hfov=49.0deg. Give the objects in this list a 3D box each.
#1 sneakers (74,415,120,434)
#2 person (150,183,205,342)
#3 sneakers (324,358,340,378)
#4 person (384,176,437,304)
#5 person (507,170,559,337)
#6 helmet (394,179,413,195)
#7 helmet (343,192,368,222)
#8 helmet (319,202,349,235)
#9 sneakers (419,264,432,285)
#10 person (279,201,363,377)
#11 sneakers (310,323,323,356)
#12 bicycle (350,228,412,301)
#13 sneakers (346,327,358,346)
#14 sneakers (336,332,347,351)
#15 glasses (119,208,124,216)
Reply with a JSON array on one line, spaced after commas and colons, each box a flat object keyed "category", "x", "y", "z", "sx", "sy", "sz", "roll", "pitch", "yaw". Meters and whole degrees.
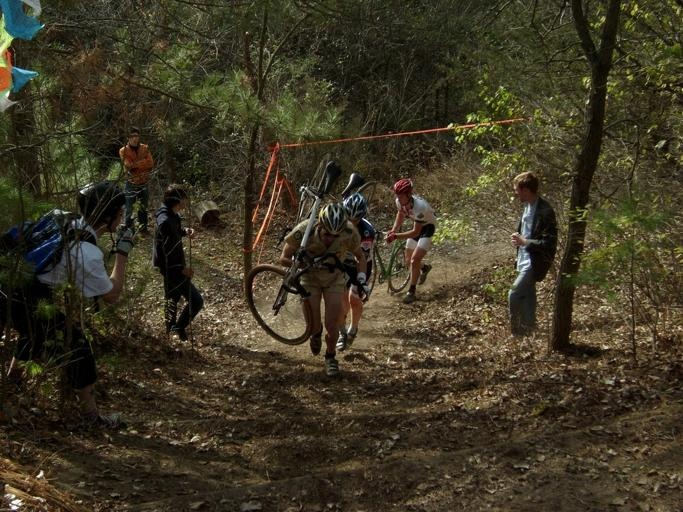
[{"category": "sneakers", "x": -2.136, "y": 1.467, "z": 6.552, "sx": 0.377, "sy": 0.179, "sz": 0.133, "roll": -1, "pitch": 25, "yaw": -24}, {"category": "person", "x": -2.185, "y": 0.137, "z": 9.925, "sx": 0.739, "sy": 2.536, "sz": 0.982, "roll": -13, "pitch": 44, "yaw": -23}, {"category": "sneakers", "x": -0.114, "y": 1.235, "z": 8.249, "sx": 0.151, "sy": 0.177, "sz": 0.402, "roll": -2, "pitch": -7, "yaw": -5}, {"category": "person", "x": 1.054, "y": -0.269, "z": 11.245, "sx": 0.698, "sy": 2.009, "sz": 1.590, "roll": 1, "pitch": 14, "yaw": 7}, {"category": "person", "x": 2.174, "y": 0.001, "z": 8.570, "sx": 0.549, "sy": 1.898, "sz": 0.518, "roll": 6, "pitch": 16, "yaw": 27}, {"category": "helmet", "x": 0.845, "y": -0.994, "z": 10.448, "sx": 0.236, "sy": 0.188, "sz": 0.207, "roll": -33, "pitch": -21, "yaw": -11}, {"category": "helmet", "x": 0.156, "y": -0.585, "z": 8.718, "sx": 0.241, "sy": 0.305, "sz": 0.312, "roll": 1, "pitch": 14, "yaw": 0}, {"category": "helmet", "x": -0.076, "y": -0.408, "z": 7.642, "sx": 0.247, "sy": 0.335, "sz": 0.226, "roll": 1, "pitch": 11, "yaw": -10}, {"category": "sneakers", "x": 1.362, "y": 0.289, "z": 12.163, "sx": 0.175, "sy": 0.404, "sz": 0.134, "roll": 5, "pitch": 17, "yaw": -12}, {"category": "person", "x": -0.163, "y": 0.326, "z": 8.190, "sx": 0.916, "sy": 1.960, "sz": 0.836, "roll": -5, "pitch": 15, "yaw": -15}, {"category": "sneakers", "x": -0.282, "y": 0.909, "z": 8.237, "sx": 0.117, "sy": 0.370, "sz": 0.156, "roll": 0, "pitch": -40, "yaw": 0}, {"category": "bicycle", "x": 0.669, "y": 0.168, "z": 12.210, "sx": 0.599, "sy": 0.756, "sz": 1.209, "roll": 1, "pitch": 1, "yaw": 33}, {"category": "sneakers", "x": 0.132, "y": 0.984, "z": 9.409, "sx": 0.093, "sy": 0.112, "sz": 0.269, "roll": 7, "pitch": 47, "yaw": 11}, {"category": "sneakers", "x": 0.004, "y": 1.074, "z": 9.303, "sx": 0.088, "sy": 0.117, "sz": 0.272, "roll": 0, "pitch": 16, "yaw": 9}, {"category": "glasses", "x": -1.998, "y": -0.413, "z": 6.787, "sx": 0.061, "sy": 0.084, "sz": 0.030, "roll": 7, "pitch": -2, "yaw": 44}]
